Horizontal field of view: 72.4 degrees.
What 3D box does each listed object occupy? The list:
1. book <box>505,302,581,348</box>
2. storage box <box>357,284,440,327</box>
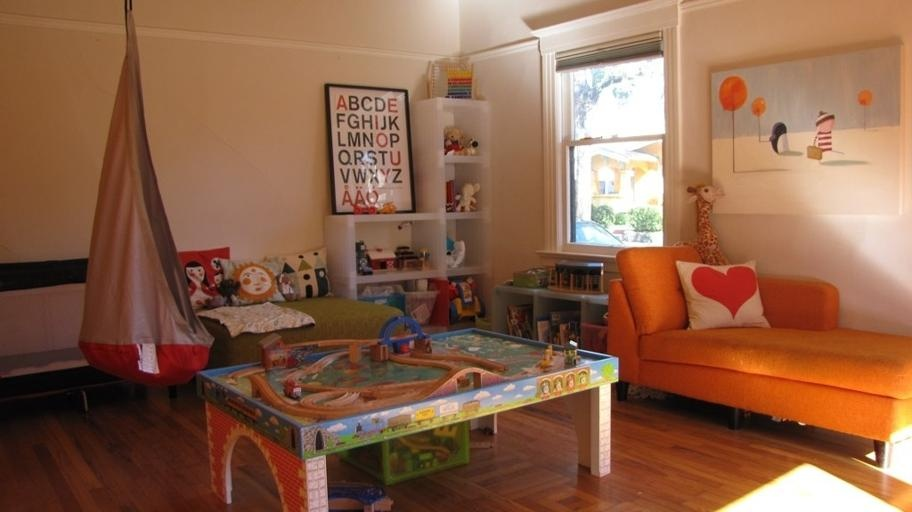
[{"bbox_3d":[0.842,0.643,5.787,0.447,0.433,0.160,-2,-2,-8],"label":"book"},{"bbox_3d":[-0.548,0.503,6.398,0.464,0.268,0.633,-3,-6,32],"label":"storage box"}]
